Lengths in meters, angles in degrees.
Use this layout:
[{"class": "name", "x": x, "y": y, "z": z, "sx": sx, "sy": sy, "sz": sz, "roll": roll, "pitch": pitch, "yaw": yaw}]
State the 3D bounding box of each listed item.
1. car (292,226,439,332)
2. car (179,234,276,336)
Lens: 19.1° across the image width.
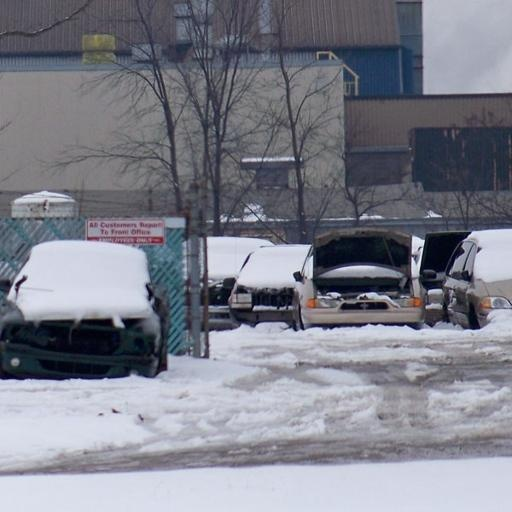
[{"class": "car", "x": 2.872, "y": 0.660, "z": 42.761, "sx": 3.421, "sy": 2.885, "sz": 2.143, "roll": -4, "pitch": 3, "yaw": -2}, {"class": "car", "x": -0.815, "y": 0.944, "z": 42.593, "sx": 2.096, "sy": 2.071, "sz": 4.041, "roll": 0, "pitch": -2, "yaw": 0}]
